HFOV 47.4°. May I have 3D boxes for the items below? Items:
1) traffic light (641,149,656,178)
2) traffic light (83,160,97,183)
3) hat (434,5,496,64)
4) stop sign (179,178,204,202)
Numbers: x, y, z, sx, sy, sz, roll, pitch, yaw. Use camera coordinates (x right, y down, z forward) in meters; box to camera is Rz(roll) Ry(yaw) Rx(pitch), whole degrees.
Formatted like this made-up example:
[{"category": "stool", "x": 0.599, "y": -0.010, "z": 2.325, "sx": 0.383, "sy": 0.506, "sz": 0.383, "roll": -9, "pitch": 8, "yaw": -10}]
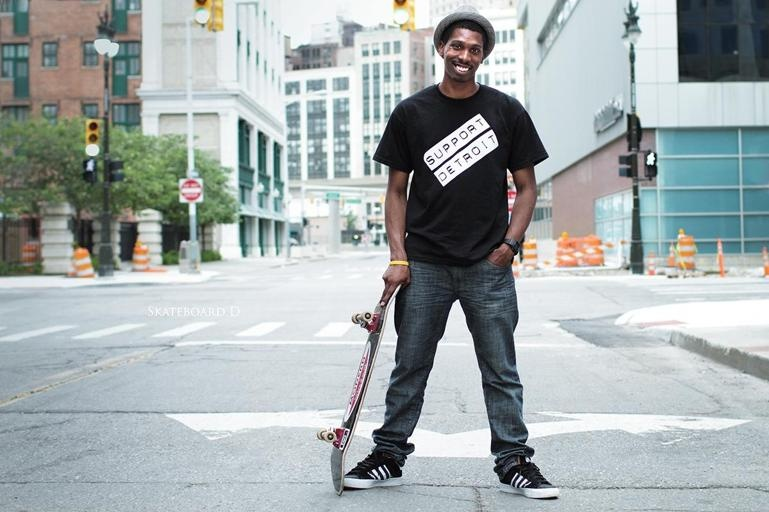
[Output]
[{"category": "traffic light", "x": 8.796, "y": -3.040, "z": 28.962, "sx": 0.416, "sy": 0.952, "sz": 0.651, "roll": 1, "pitch": 3, "yaw": 22}, {"category": "traffic light", "x": -9.649, "y": -2.800, "z": 28.669, "sx": 0.386, "sy": 0.793, "sz": 0.420, "roll": -1, "pitch": 3, "yaw": -23}, {"category": "hat", "x": 0.799, "y": -2.230, "z": 8.669, "sx": 0.603, "sy": 0.523, "sz": 0.339, "roll": 0, "pitch": 2, "yaw": -5}, {"category": "stop sign", "x": -7.122, "y": -2.443, "z": 32.365, "sx": 0.776, "sy": 0.961, "sz": 0.914, "roll": -1, "pitch": 3, "yaw": -18}]
